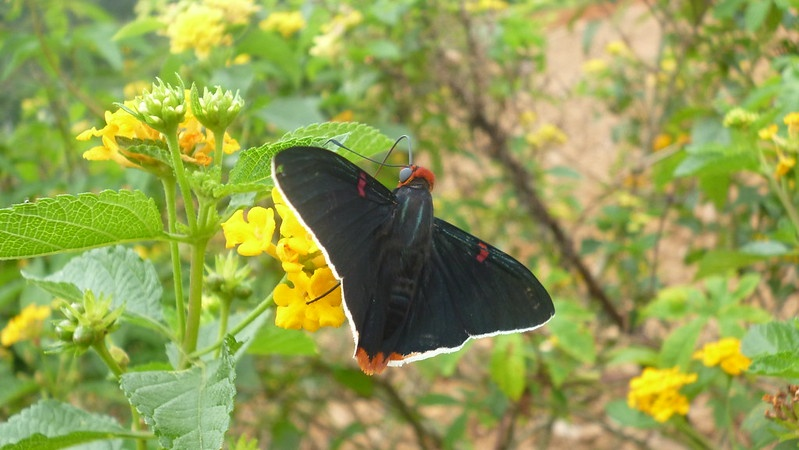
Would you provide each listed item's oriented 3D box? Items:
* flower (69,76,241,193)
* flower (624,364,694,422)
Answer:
[{"bbox_3d":[-1.069,-0.426,4.256,0.529,0.316,0.514,-9,19,-18],"label":"flower"},{"bbox_3d":[1.211,0.747,4.425,0.298,0.285,0.127,-15,-50,33],"label":"flower"}]
